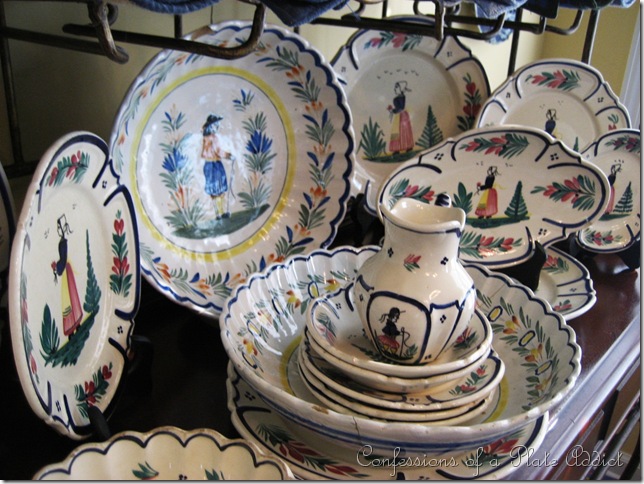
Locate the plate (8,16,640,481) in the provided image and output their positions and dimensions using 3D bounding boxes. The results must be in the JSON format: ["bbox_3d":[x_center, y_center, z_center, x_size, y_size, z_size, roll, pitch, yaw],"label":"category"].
[{"bbox_3d":[0.028,0.114,0.907,0.857,0.456,0.413,-1,0,-3],"label":"plate"}]
